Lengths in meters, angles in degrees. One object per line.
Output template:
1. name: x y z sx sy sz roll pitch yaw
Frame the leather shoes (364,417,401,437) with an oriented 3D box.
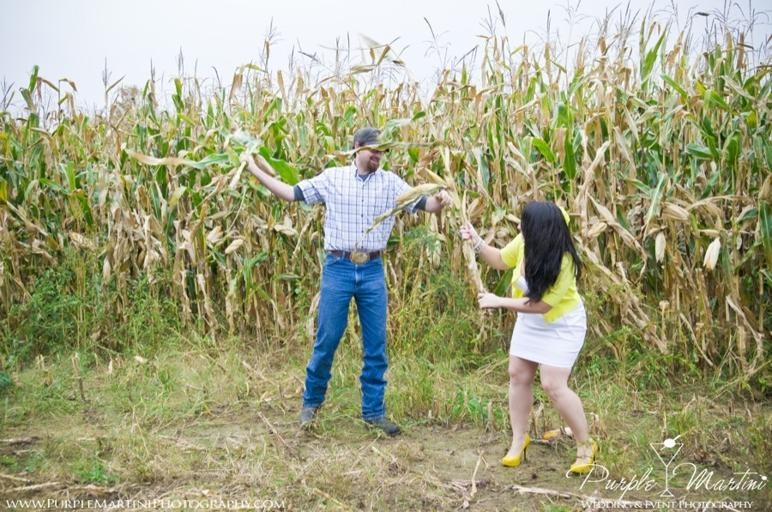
1. leather shoes: -0.013 1.657 6.400 0.355 0.158 0.156 9 3 22

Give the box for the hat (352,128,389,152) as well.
1. hat: -0.156 -1.076 6.039 0.244 0.227 0.259 -2 11 -9

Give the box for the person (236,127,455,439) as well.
1. person: -0.373 0.372 6.256 1.155 2.734 0.295 0 7 1

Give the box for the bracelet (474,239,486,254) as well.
1. bracelet: 0.872 -0.091 6.076 0.103 0.104 0.105 2 -7 -6

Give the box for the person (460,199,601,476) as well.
1. person: 1.353 0.725 5.763 1.030 2.402 0.518 2 7 18
